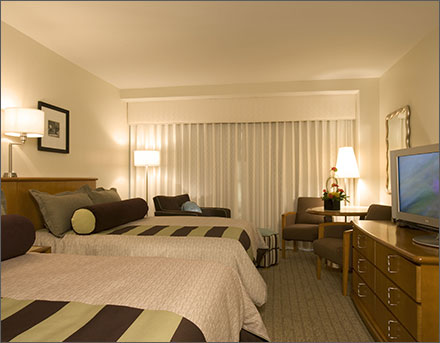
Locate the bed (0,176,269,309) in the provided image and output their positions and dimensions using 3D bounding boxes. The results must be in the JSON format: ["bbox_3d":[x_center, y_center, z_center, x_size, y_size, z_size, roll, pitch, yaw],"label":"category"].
[{"bbox_3d":[-0.757,0.604,2.957,1.813,0.796,1.572,1,-2,2],"label":"bed"}]

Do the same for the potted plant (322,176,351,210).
[{"bbox_3d":[1.602,0.318,4.574,0.520,0.530,0.511,1,-3,9],"label":"potted plant"}]
